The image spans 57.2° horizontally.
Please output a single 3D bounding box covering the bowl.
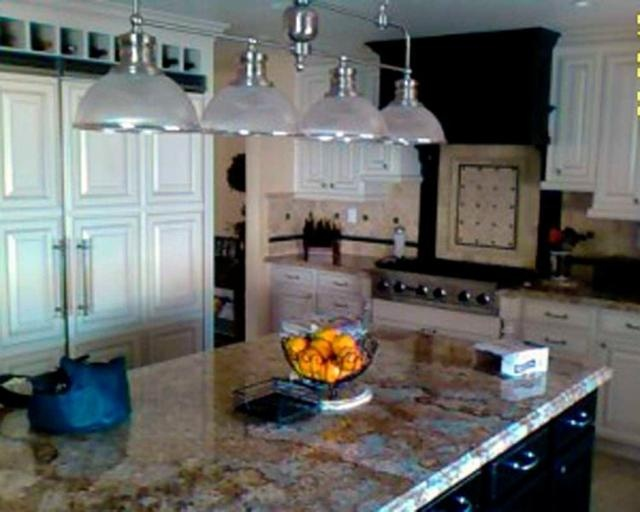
[{"bbox_3d":[0.023,0.340,2.073,0.265,0.147,0.266,1,1,0],"label":"bowl"}]

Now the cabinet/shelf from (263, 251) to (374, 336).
[{"bbox_3d":[0.013,0.419,5.251,1.205,0.677,0.253,9,13,41],"label":"cabinet/shelf"}]

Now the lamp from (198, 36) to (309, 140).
[{"bbox_3d":[-0.200,-0.516,1.909,0.295,0.254,0.284,3,6,30],"label":"lamp"}]

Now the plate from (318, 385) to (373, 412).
[{"bbox_3d":[0.094,0.503,2.089,0.133,0.038,0.228,9,12,40],"label":"plate"}]

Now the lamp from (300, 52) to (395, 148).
[{"bbox_3d":[0.088,-0.545,2.015,0.292,0.291,0.328,1,9,4],"label":"lamp"}]

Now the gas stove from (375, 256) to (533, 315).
[{"bbox_3d":[1.024,0.225,4.666,1.258,0.290,0.455,7,11,33],"label":"gas stove"}]

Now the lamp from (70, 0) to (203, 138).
[{"bbox_3d":[-0.538,-0.530,1.804,0.377,0.400,0.356,-7,13,-32],"label":"lamp"}]
